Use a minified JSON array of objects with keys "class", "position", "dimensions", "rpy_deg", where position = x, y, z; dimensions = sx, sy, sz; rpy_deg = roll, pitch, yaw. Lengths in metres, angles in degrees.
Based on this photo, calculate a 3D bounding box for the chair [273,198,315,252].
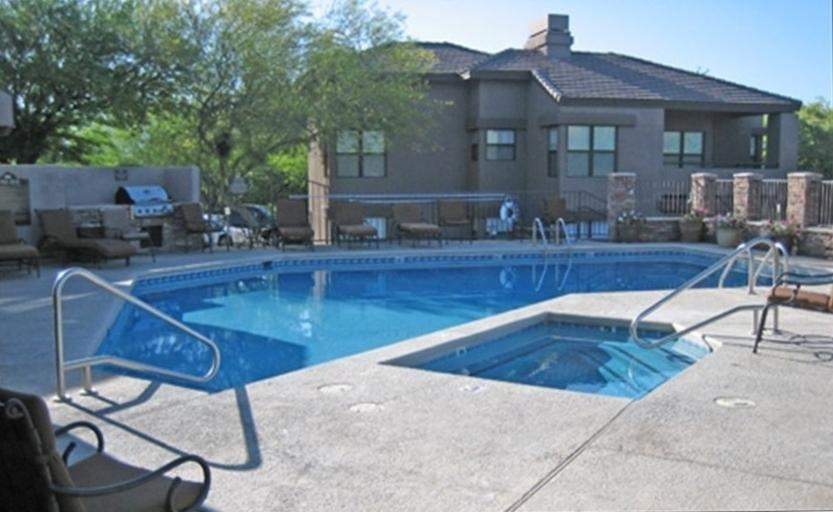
[{"class":"chair","position":[-3.469,-0.844,19.540],"dimensions":[1.040,1.432,1.599],"rpy_deg":[-1,5,-19]}]

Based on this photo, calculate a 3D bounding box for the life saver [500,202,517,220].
[{"class":"life saver","position":[2.988,-1.443,22.690],"dimensions":[0.491,0.577,0.858],"rpy_deg":[-1,6,6]}]

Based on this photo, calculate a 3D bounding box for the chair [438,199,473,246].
[{"class":"chair","position":[1.207,-1.057,21.474],"dimensions":[0.916,1.242,0.794],"rpy_deg":[-1,8,-5]}]

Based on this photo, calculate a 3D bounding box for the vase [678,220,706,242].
[{"class":"vase","position":[8.591,-0.743,21.672],"dimensions":[0.660,0.518,0.671],"rpy_deg":[-1,3,33]}]

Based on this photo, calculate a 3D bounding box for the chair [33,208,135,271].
[{"class":"chair","position":[-8.237,-0.290,16.548],"dimensions":[1.458,0.915,0.900],"rpy_deg":[10,-12,-27]}]

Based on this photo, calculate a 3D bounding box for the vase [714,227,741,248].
[{"class":"vase","position":[9.110,-0.517,20.342],"dimensions":[0.599,0.451,0.609],"rpy_deg":[1,-2,-3]}]

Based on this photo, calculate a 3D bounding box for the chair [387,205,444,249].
[{"class":"chair","position":[-0.073,-0.966,21.360],"dimensions":[1.366,1.236,2.407],"rpy_deg":[-2,6,-2]}]

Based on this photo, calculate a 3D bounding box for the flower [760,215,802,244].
[{"class":"flower","position":[10.029,-0.653,19.078],"dimensions":[0.788,0.635,0.899],"rpy_deg":[-1,6,7]}]

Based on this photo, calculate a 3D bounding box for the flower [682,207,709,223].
[{"class":"flower","position":[8.647,-1.205,21.526],"dimensions":[0.527,0.313,0.546],"rpy_deg":[2,17,34]}]

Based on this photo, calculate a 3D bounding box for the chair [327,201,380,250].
[{"class":"chair","position":[-1.849,-0.901,20.314],"dimensions":[1.058,1.342,1.534],"rpy_deg":[-2,7,-23]}]

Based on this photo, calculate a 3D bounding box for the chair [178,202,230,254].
[{"class":"chair","position":[-6.089,-0.799,19.420],"dimensions":[1.299,1.776,1.276],"rpy_deg":[4,11,10]}]

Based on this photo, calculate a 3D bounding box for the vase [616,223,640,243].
[{"class":"vase","position":[6.717,-0.725,22.031],"dimensions":[0.929,0.706,0.520],"rpy_deg":[2,8,13]}]
